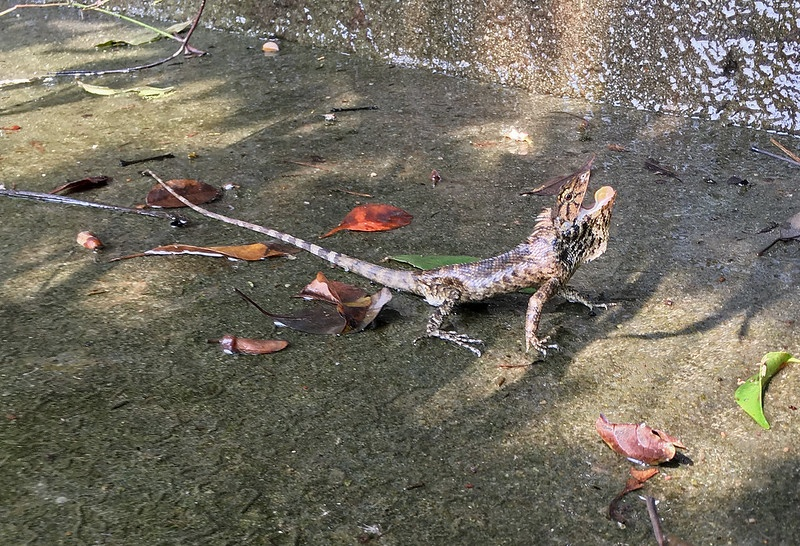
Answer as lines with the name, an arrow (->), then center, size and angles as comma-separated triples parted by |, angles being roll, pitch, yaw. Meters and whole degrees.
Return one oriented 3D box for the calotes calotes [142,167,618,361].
calotes calotes -> 0.110, -0.127, 4.191 | 2.856, 0.602, 0.707 | 10, 34, 3
